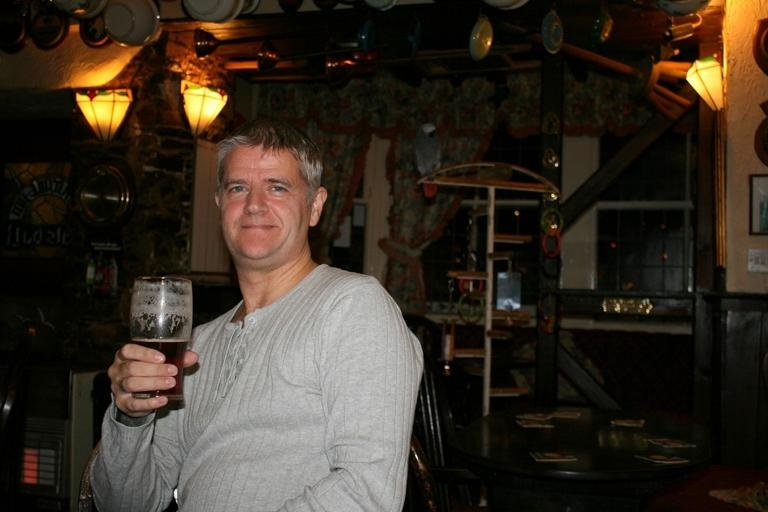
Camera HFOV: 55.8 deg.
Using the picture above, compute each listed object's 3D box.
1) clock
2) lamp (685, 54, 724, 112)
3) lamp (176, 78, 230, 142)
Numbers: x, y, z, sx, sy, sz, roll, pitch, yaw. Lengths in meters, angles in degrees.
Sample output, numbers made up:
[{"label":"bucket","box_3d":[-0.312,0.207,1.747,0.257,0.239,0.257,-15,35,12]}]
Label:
[{"label":"clock","box_3d":[-2.744,-0.570,7.152,0.805,0.868,0.283,14,13,18]},{"label":"lamp","box_3d":[2.851,-1.511,6.418,0.297,0.426,0.316,-13,-10,-17]},{"label":"lamp","box_3d":[-1.753,-1.424,7.301,0.526,0.503,0.520,3,-10,2]}]
